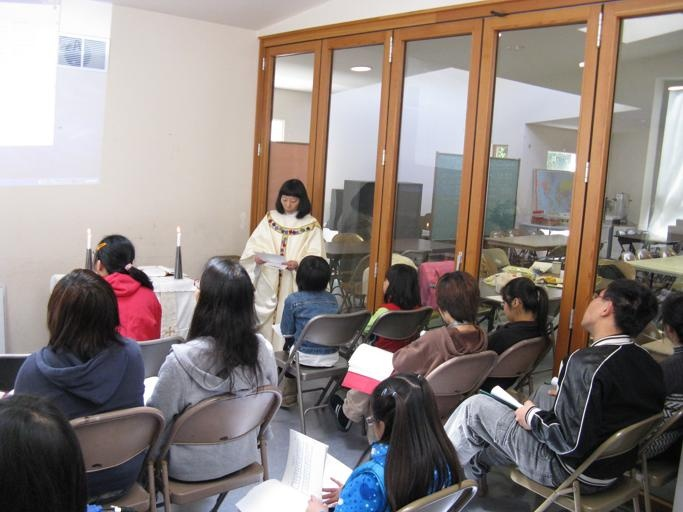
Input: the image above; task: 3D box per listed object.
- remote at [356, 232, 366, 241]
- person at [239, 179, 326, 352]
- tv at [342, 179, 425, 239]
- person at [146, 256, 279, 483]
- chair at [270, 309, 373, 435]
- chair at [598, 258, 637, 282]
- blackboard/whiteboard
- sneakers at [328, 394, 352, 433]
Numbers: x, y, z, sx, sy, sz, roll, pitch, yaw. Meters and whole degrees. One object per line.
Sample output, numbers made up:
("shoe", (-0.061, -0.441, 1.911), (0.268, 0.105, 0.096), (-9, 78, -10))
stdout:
("remote", (0.161, -0.156, 4.188), (0.054, 0.038, 0.053), (13, 14, -46))
("person", (-0.468, 0.162, 4.275), (0.702, 1.464, 0.565), (7, 20, 4))
("tv", (0.345, -0.478, 4.205), (0.698, 0.628, 0.248), (0, -30, 2))
("person", (-0.491, 0.454, 2.006), (0.514, 0.877, 0.244), (-2, 8, -21))
("chair", (-0.163, 0.690, 3.259), (0.475, 0.798, 0.585), (1, 8, -24))
("chair", (1.607, 0.074, 2.979), (0.125, 0.143, 0.110), (-3, 16, -23))
("blackboard/whiteboard", (0.942, -0.397, 3.517), (0.044, 0.651, 0.571), (-7, 12, -41))
("sneakers", (-0.017, 1.036, 3.331), (0.087, 0.295, 0.112), (-13, -9, -36))
